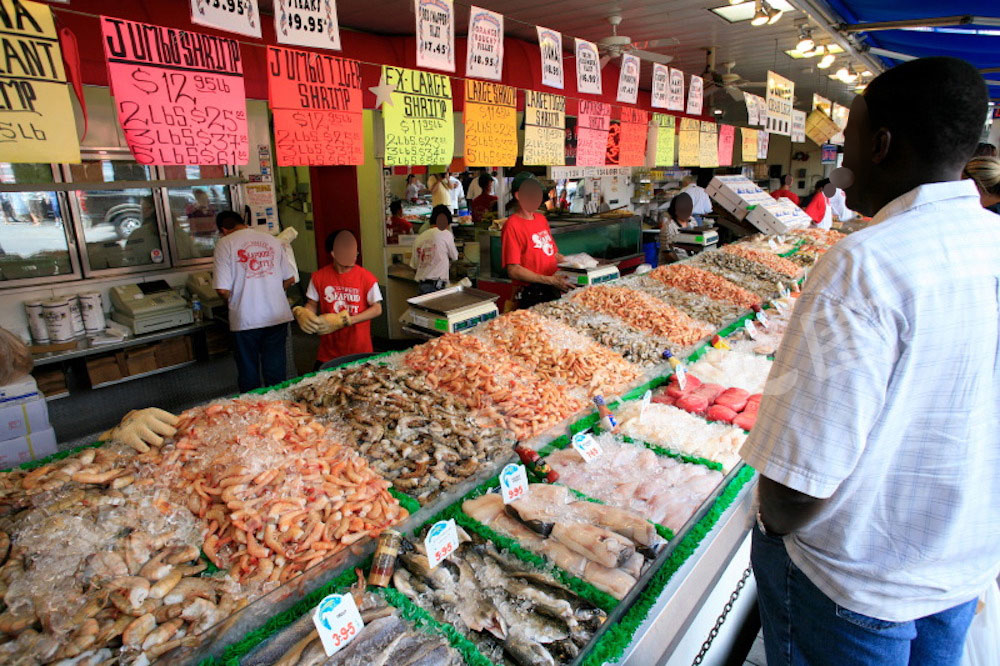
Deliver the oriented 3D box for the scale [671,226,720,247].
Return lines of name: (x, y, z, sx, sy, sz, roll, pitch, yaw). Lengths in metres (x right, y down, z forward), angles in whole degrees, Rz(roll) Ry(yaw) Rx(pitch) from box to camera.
scale: (2.241, -1.112, 6.623, 0.309, 0.134, 0.351, 11, 20, 38)

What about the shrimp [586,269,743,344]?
shrimp: (0.970, -0.274, 3.776, 0.685, 0.162, 0.444, 27, 31, 34)

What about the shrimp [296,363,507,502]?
shrimp: (-0.459, 0.387, 2.536, 0.808, 0.185, 0.499, 27, 29, 30)

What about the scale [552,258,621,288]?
scale: (0.742, -0.507, 4.938, 0.321, 0.132, 0.331, 11, 22, 39)

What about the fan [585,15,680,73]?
fan: (1.430, -2.941, 5.929, 0.995, 0.383, 0.981, 0, 0, -10)

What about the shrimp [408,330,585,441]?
shrimp: (-0.061, 0.236, 2.917, 0.471, 0.123, 0.766, -18, 35, -42)

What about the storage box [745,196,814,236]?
storage box: (3.176, -1.322, 6.566, 0.429, 0.193, 0.857, 39, 38, 24)

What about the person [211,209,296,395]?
person: (-1.957, -0.253, 4.865, 0.555, 1.625, 0.712, -7, 12, -32)

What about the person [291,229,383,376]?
person: (-1.258, -0.011, 4.452, 0.638, 1.493, 0.552, -5, 30, -21)

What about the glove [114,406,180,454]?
glove: (-1.442, 0.385, 2.374, 0.210, 0.091, 0.252, 17, 6, -25)

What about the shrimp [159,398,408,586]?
shrimp: (-0.893, 0.534, 2.191, 0.545, 0.265, 0.796, -22, 42, -41)

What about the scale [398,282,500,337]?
scale: (-0.240, -0.152, 3.727, 0.432, 0.169, 0.394, -12, 17, -43)

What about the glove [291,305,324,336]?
glove: (-1.349, -0.099, 4.045, 0.121, 0.173, 0.239, -15, 22, -35)
